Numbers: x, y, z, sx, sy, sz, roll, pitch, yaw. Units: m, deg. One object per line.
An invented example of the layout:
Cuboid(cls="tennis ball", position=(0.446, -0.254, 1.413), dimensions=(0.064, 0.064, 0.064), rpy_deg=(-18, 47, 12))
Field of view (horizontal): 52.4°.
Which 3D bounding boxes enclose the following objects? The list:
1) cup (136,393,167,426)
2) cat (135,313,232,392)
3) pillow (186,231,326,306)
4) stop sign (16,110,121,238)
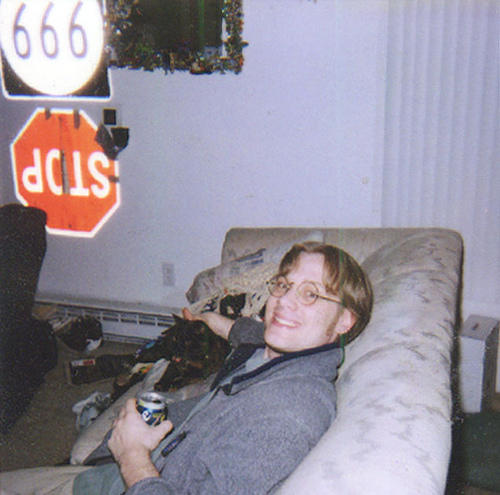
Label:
Cuboid(cls="cup", position=(-0.268, 0.437, 1.382), dimensions=(0.069, 0.079, 0.071), rpy_deg=(6, 11, -1))
Cuboid(cls="cat", position=(-0.230, 0.384, 1.789), dimensions=(0.256, 0.258, 0.088), rpy_deg=(-26, -20, 16))
Cuboid(cls="pillow", position=(-0.020, 0.059, 2.155), dimensions=(0.142, 0.228, 0.751), rpy_deg=(3, 11, 41))
Cuboid(cls="stop sign", position=(-0.827, -0.358, 2.315), dimensions=(0.469, 0.541, 0.010), rpy_deg=(12, 26, 24))
